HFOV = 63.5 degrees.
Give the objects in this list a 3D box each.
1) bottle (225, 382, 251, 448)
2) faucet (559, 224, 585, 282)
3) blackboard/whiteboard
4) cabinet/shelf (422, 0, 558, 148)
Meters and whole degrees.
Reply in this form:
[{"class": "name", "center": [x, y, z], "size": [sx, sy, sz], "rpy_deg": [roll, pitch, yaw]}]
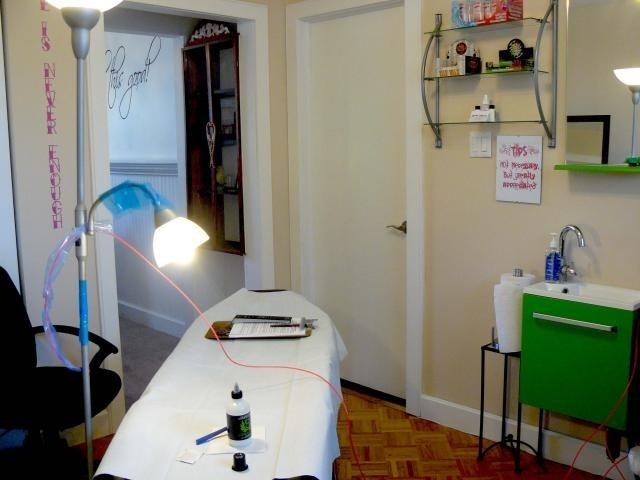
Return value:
[{"class": "bottle", "center": [-0.307, 0.650, 1.986], "size": [0.093, 0.210, 0.174], "rpy_deg": [-1, 11, -10]}, {"class": "faucet", "center": [1.393, 0.078, 2.865], "size": [0.137, 0.329, 0.187], "rpy_deg": [5, 11, 26]}, {"class": "blackboard/whiteboard", "center": [-1.639, -1.294, 4.831], "size": [1.295, 1.750, 0.062], "rpy_deg": [8, 10, 42]}, {"class": "cabinet/shelf", "center": [1.019, -0.983, 3.011], "size": [0.215, 0.903, 0.780], "rpy_deg": [-5, 8, -41]}]
